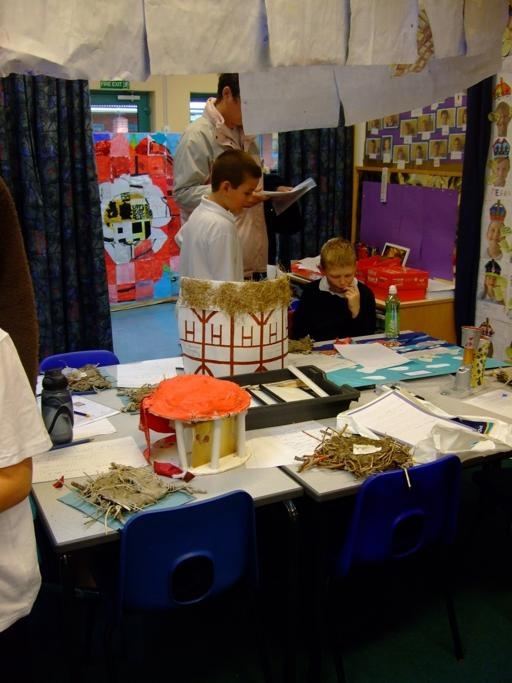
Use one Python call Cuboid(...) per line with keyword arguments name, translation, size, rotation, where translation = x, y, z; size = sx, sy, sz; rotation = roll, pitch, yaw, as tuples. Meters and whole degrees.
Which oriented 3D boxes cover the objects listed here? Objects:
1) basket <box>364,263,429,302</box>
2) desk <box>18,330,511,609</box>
Cuboid(name="basket", translation=(0.884, -0.366, 3.441), size=(0.355, 0.114, 0.246), rotation=(-11, 20, -35))
Cuboid(name="desk", translation=(0.056, 0.364, 1.497), size=(0.807, 0.187, 0.551), rotation=(-10, 31, -25))
